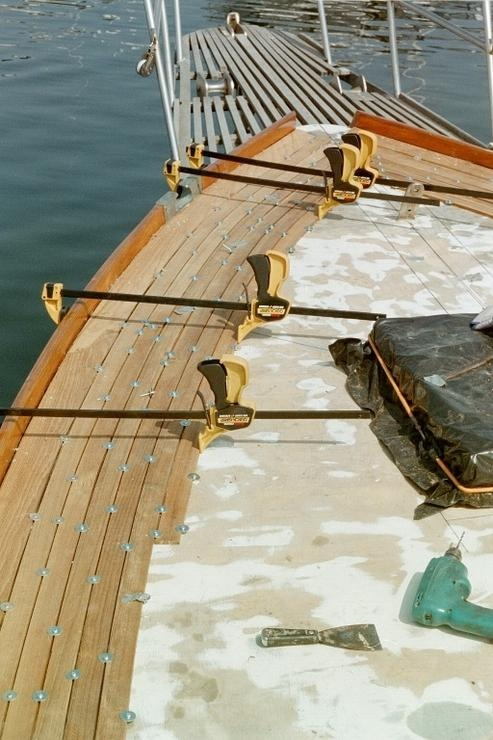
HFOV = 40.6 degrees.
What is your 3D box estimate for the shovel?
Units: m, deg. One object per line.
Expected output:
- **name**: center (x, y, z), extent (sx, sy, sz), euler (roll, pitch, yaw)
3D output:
- **shovel**: center (0.311, 1.046, 2.621), extent (0.441, 0.049, 0.154), euler (0, 21, -3)
